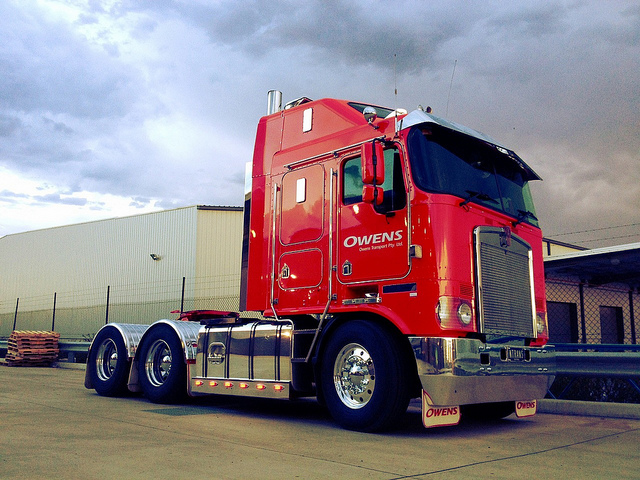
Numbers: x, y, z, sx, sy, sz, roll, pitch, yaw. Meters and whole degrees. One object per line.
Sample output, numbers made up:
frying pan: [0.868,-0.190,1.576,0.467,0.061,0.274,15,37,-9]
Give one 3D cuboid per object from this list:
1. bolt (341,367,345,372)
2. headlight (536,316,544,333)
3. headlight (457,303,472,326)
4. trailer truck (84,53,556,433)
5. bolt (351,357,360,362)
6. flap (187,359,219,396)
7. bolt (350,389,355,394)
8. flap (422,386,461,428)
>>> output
bolt: [0.305,1.723,6.801,0.072,0.074,0.040,4,-18,10]
headlight: [3.162,1.214,7.315,0.152,0.227,0.079,3,-7,-28]
headlight: [1.787,0.914,6.283,0.068,0.272,0.269,-1,-3,44]
trailer truck: [-0.789,0.699,10.370,9.522,5.115,3.596,-12,-16,42]
bolt: [0.456,1.573,6.707,0.015,0.068,0.113,3,-3,-43]
flap: [-2.075,2.459,8.982,0.451,0.785,0.880,1,-12,0]
bolt: [0.424,1.994,6.714,0.076,0.066,0.009,-1,-3,40]
flap: [1.494,2.031,6.277,0.626,0.496,0.204,2,-3,-29]
